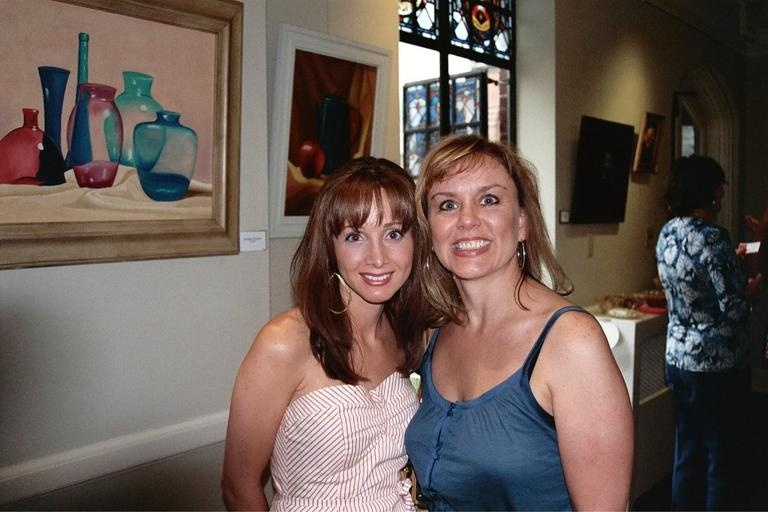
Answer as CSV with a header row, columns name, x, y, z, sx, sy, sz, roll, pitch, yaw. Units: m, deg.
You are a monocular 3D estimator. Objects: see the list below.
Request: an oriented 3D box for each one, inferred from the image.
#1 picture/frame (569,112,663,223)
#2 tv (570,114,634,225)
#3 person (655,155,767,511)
name,x,y,z,sx,sy,sz,roll,pitch,yaw
picture/frame,1.407,-0.530,3.469,0.086,0.934,0.685,3,2,-14
tv,1.365,-0.561,3.638,0.471,0.573,0.048,-7,19,-28
person,1.761,0.476,3.235,0.133,2.045,0.503,-8,12,-38
